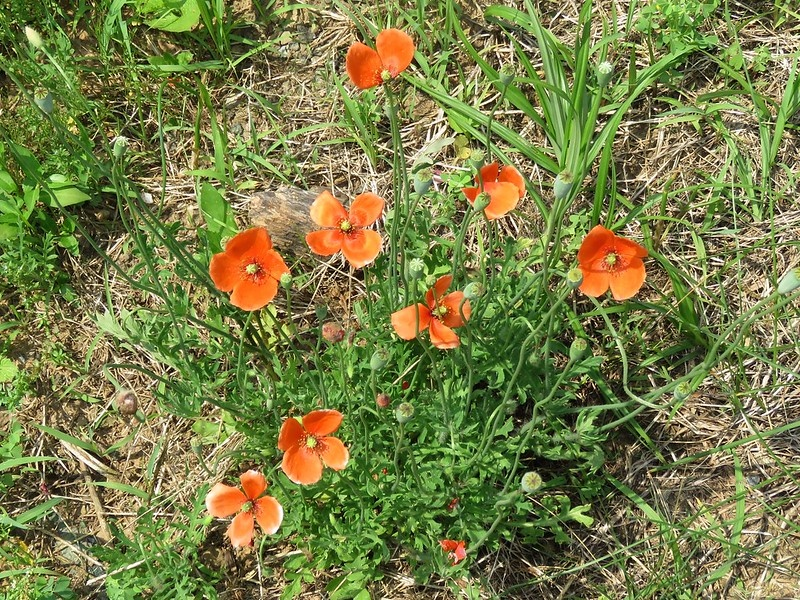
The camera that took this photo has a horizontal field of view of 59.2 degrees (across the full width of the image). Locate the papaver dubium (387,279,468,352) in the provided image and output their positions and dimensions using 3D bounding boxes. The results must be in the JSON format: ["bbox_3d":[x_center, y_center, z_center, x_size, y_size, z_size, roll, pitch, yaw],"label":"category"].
[{"bbox_3d":[0.123,0.044,3.306,0.321,0.337,0.342,-7,89,-4],"label":"papaver dubium"}]

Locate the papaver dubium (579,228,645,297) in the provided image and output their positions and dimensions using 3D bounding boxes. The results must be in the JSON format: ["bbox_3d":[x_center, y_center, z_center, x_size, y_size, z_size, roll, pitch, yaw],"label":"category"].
[{"bbox_3d":[0.954,-0.148,3.213,0.315,0.291,0.281,10,78,2],"label":"papaver dubium"}]

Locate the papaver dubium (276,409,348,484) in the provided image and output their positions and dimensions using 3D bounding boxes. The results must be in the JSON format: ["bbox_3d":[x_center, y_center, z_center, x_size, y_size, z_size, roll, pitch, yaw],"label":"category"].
[{"bbox_3d":[-0.387,0.692,3.298,0.291,0.493,0.302,-10,78,-2],"label":"papaver dubium"}]

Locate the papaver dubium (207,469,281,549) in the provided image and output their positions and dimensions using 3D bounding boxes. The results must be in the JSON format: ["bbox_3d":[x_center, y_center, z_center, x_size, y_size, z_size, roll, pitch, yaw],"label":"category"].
[{"bbox_3d":[-0.733,0.977,3.321,0.338,0.156,0.374,-18,91,15],"label":"papaver dubium"}]

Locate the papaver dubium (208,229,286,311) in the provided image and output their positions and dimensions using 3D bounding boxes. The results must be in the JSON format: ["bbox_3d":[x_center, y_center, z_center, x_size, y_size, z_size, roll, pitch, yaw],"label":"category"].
[{"bbox_3d":[-0.697,-0.134,3.275,0.346,0.153,0.406,18,89,2],"label":"papaver dubium"}]

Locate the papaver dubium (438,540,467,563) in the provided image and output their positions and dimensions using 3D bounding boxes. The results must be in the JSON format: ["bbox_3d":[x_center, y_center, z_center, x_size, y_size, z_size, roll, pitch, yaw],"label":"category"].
[{"bbox_3d":[0.259,1.208,3.398,0.043,0.105,0.131,-12,92,-25],"label":"papaver dubium"}]
